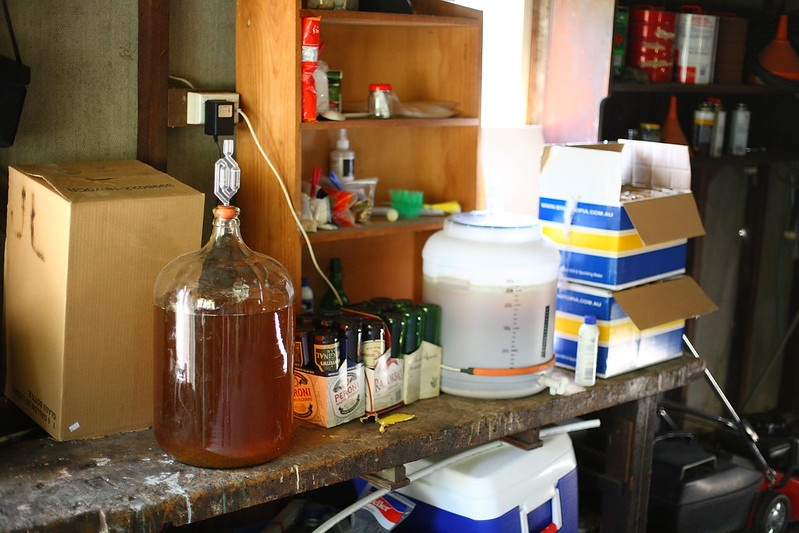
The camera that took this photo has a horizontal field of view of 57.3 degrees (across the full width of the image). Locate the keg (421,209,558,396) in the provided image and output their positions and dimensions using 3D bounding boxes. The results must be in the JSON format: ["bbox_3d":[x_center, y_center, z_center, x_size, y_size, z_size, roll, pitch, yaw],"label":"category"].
[{"bbox_3d":[0.334,0.091,2.680,0.590,0.621,0.573,4,11,20],"label":"keg"}]

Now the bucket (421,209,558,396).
[{"bbox_3d":[0.326,0.104,2.685,0.590,0.621,0.573,0,10,0],"label":"bucket"}]

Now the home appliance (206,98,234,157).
[{"bbox_3d":[-0.623,-0.497,2.473,0.106,0.142,0.109,-4,22,-27],"label":"home appliance"}]

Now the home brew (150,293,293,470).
[{"bbox_3d":[-0.492,0.344,2.158,0.404,0.422,0.414,-7,-10,43],"label":"home brew"}]
